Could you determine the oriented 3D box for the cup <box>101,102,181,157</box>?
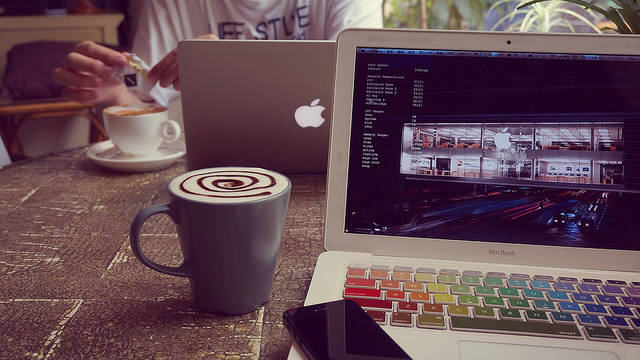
[{"bbox_3d":[-0.576,-0.148,1.471,0.242,0.127,0.178,-3,11,-2],"label":"cup"}]

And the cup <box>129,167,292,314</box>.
[{"bbox_3d":[-0.210,0.109,1.069,0.415,0.262,0.276,-5,12,-21],"label":"cup"}]

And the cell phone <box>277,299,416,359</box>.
[{"bbox_3d":[0.056,0.309,0.918,0.119,0.018,0.191,-12,39,-27],"label":"cell phone"}]
